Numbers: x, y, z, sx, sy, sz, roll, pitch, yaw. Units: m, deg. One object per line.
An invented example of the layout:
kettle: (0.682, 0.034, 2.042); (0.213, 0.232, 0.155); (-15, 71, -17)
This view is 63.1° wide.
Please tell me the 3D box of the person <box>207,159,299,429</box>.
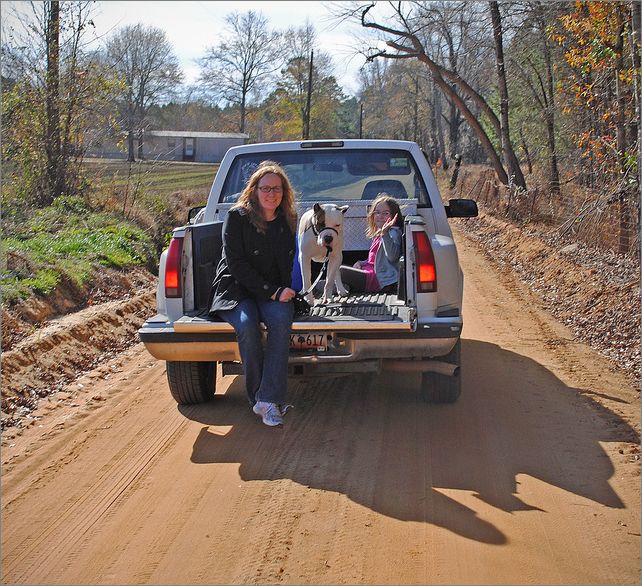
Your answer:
person: (-0.501, -0.042, 4.067); (0.656, 1.939, 0.881); (-2, 9, -4)

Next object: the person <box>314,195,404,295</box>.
person: (0.443, -0.478, 5.046); (1.116, 0.990, 0.517); (-2, 13, -34)

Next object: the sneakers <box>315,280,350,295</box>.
sneakers: (0.048, -0.053, 5.162); (0.192, 0.086, 0.205); (8, -4, 22)

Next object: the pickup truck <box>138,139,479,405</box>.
pickup truck: (0.083, -0.247, 6.228); (2.753, 2.307, 4.900); (0, 6, 8)

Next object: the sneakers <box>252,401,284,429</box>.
sneakers: (-0.387, 0.888, 3.896); (0.262, 0.134, 0.119); (35, 11, 25)
